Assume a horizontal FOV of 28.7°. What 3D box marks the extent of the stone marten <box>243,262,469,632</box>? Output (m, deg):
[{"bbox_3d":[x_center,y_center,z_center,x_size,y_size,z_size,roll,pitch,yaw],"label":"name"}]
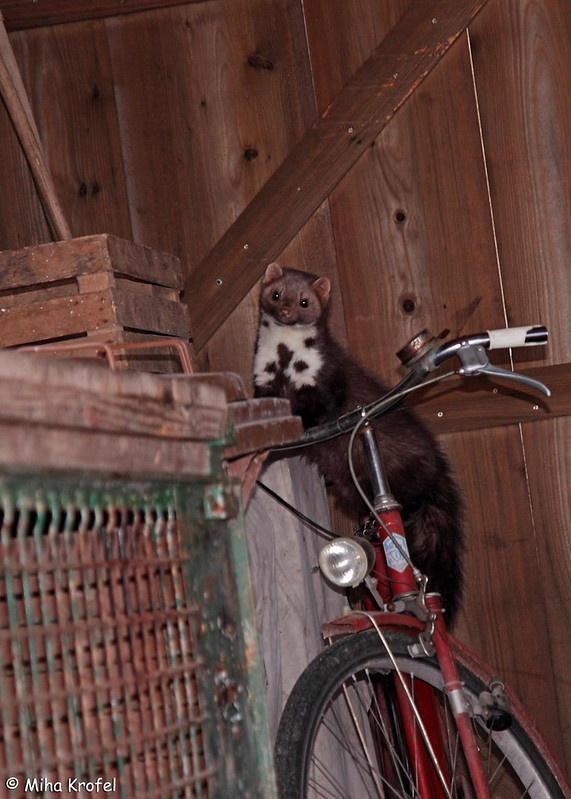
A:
[{"bbox_3d":[0.181,0.110,2.404,0.305,0.809,0.148,-10,2,41],"label":"stone marten"}]
